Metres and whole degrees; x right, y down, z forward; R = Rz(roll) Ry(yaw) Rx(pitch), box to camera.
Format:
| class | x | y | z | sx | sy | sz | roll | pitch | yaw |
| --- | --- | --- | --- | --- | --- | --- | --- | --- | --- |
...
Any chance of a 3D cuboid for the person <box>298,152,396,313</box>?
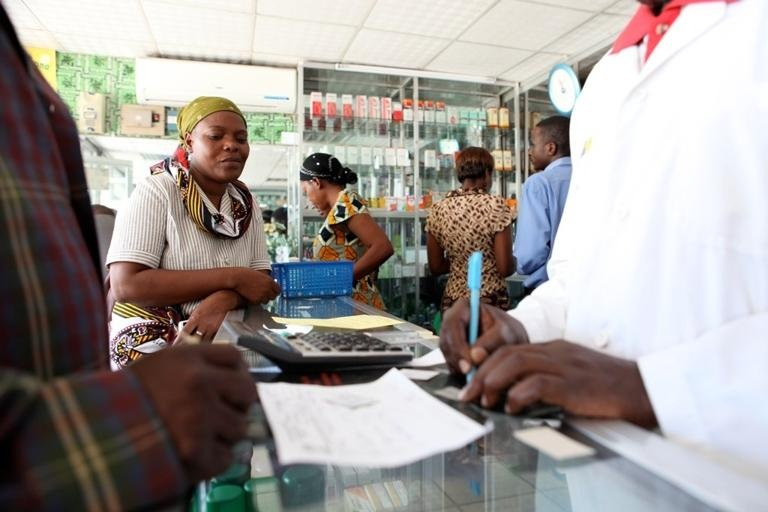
| class | x | y | z | sx | sy | sz | roll | pitch | yaw |
| --- | --- | --- | --- | --- | --- | --- | --- | --- | --- |
| person | -0.244 | -0.204 | 3.424 | 0.573 | 1.114 | 0.597 | 1 | 9 | -25 |

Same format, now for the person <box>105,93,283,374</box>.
| class | x | y | z | sx | sy | sz | roll | pitch | yaw |
| --- | --- | --- | --- | --- | --- | --- | --- | --- | --- |
| person | -0.740 | -0.056 | 2.055 | 0.637 | 1.261 | 0.654 | 2 | 8 | -10 |

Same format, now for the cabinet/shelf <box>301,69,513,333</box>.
| class | x | y | z | sx | sy | sz | roll | pitch | yaw |
| --- | --- | --- | --- | --- | --- | --- | --- | --- | --- |
| cabinet/shelf | 0.105 | -0.563 | 5.791 | 1.929 | 2.470 | 1.002 | 3 | 6 | -5 |

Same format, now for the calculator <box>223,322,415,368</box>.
| class | x | y | z | sx | sy | sz | roll | pitch | yaw |
| --- | --- | --- | --- | --- | --- | --- | --- | --- | --- |
| calculator | -0.170 | 0.202 | 1.299 | 0.350 | 0.092 | 0.491 | -3 | -3 | -15 |

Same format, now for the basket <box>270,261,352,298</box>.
| class | x | y | z | sx | sy | sz | roll | pitch | yaw |
| --- | --- | --- | --- | --- | --- | --- | --- | --- | --- |
| basket | -0.342 | 0.114 | 2.733 | 0.377 | 0.159 | 0.486 | 2 | 3 | -26 |

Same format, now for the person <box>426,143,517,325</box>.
| class | x | y | z | sx | sy | sz | roll | pitch | yaw |
| --- | --- | --- | --- | --- | --- | --- | --- | --- | --- |
| person | 0.553 | -0.159 | 3.828 | 0.673 | 1.270 | 0.592 | 3 | 10 | 2 |
